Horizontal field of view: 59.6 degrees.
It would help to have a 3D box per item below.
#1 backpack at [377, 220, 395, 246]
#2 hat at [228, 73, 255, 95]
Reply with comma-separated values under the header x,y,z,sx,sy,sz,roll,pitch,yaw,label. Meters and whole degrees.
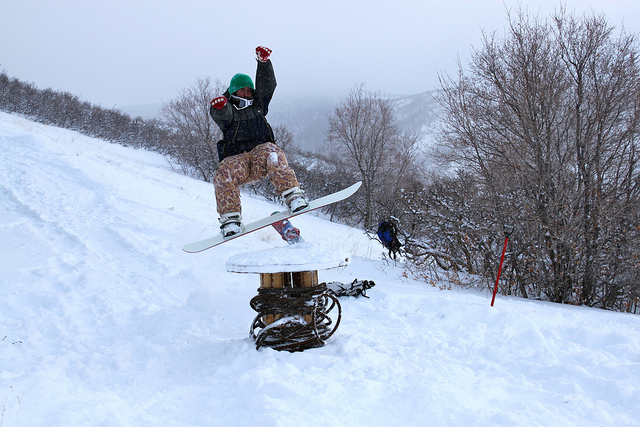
x,y,z,sx,sy,sz,roll,pitch,yaw,label
1.467,0.428,12.249,0.182,0.524,0.357,1,1,-37,backpack
-1.389,-2.271,9.829,0.465,0.377,0.294,-7,15,-8,hat
